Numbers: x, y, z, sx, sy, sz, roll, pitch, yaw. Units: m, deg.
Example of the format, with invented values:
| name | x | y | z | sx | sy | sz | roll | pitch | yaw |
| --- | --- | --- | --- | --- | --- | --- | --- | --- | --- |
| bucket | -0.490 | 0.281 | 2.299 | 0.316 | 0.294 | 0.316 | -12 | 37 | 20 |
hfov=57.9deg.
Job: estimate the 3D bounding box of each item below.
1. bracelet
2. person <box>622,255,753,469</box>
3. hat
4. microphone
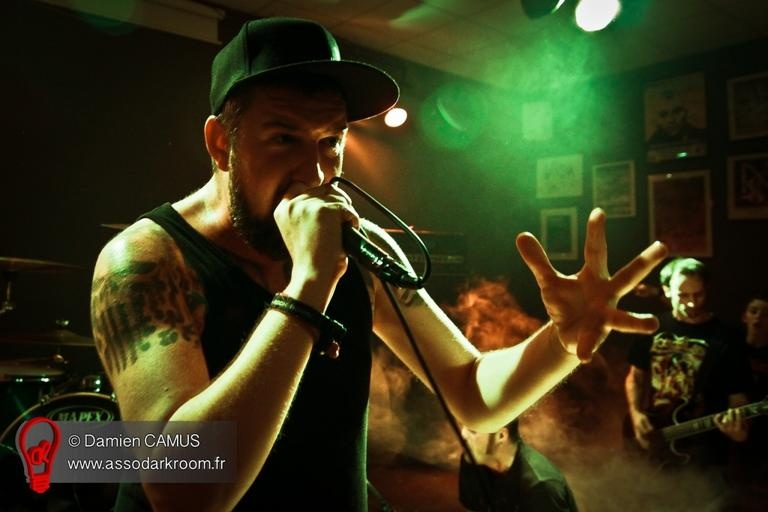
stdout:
| name | x | y | z | sx | sy | sz | roll | pitch | yaw |
| --- | --- | --- | --- | --- | --- | --- | --- | --- | --- |
| bracelet | -0.384 | 0.322 | 3.678 | 0.353 | 0.157 | 0.324 | 26 | -8 | 3 |
| person | 2.800 | 0.971 | 6.337 | 0.353 | 1.804 | 0.901 | 4 | 11 | -32 |
| hat | -0.485 | -0.949 | 3.842 | 0.815 | 0.411 | 0.627 | -4 | -2 | 28 |
| microphone | -0.044 | -0.001 | 4.054 | 0.599 | 0.126 | 0.182 | 43 | 27 | 15 |
